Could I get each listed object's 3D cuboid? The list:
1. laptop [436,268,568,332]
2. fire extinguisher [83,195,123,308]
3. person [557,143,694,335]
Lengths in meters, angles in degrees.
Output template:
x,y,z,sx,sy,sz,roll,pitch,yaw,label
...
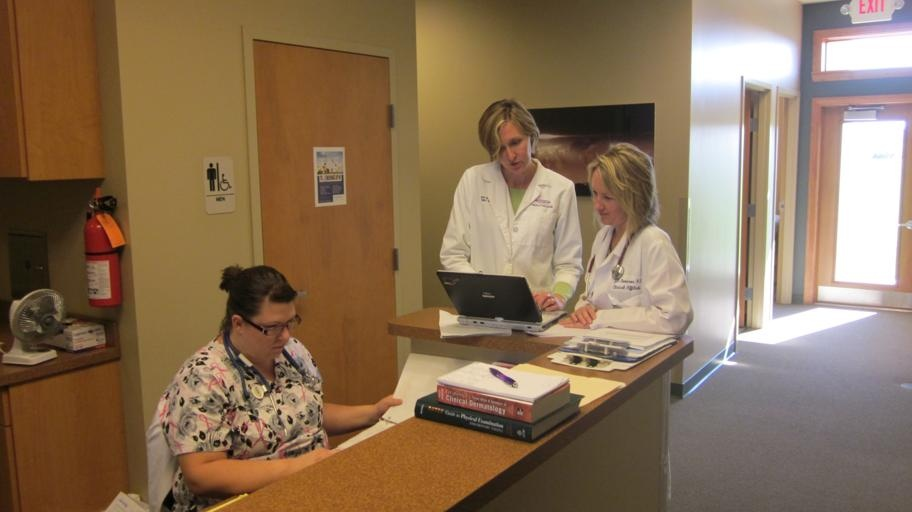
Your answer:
x,y,z,sx,sy,sz,roll,pitch,yaw,label
0.228,0.282,4.082,0.497,0.310,0.488,2,16,28,laptop
-2.401,-0.045,4.380,0.229,0.828,0.192,2,9,34,fire extinguisher
1.158,-0.123,4.228,0.700,1.226,0.484,-1,8,14,person
